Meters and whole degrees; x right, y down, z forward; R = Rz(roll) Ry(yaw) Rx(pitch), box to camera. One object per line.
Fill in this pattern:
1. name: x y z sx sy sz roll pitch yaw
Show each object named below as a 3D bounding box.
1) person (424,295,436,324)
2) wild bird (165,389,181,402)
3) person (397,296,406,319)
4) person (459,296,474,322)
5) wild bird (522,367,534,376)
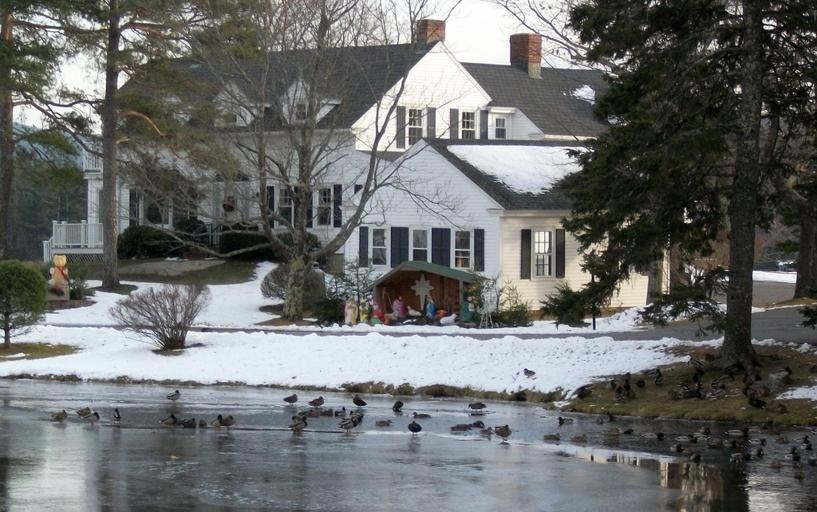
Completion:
1. person: 0.919 2.237 73.827 0.478 1.366 1.216 1 -8 0
2. wild bird: -8.430 4.983 60.993 0.554 0.370 0.317 -3 -2 28
3. person: -0.291 2.209 74.362 0.323 1.019 0.497 -1 -8 14
4. person: 2.541 2.233 72.785 0.548 1.033 0.266 3 -8 -12
5. wild bird: 4.423 4.247 62.576 0.391 0.387 0.434 2 -8 -7
